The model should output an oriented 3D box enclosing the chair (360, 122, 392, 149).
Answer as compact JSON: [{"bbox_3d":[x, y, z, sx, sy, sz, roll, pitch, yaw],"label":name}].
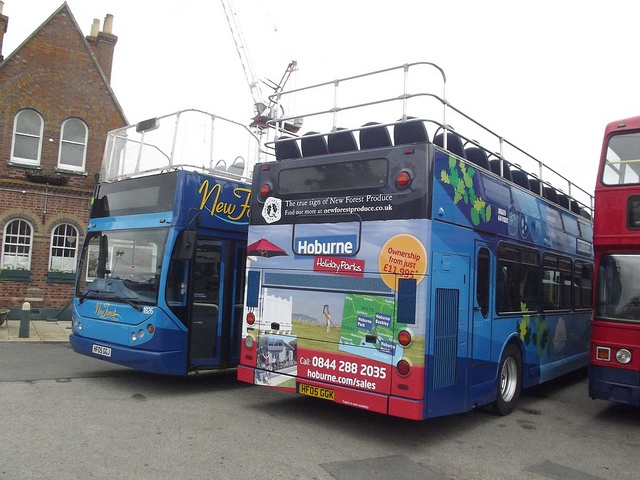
[{"bbox_3d":[0.821,-1.567,7.765,0.519,0.340,0.340,2,-1,15],"label":"chair"}]

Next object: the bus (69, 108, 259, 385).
[{"bbox_3d":[-3.003,-0.083,10.003,2.996,4.685,1.850,2,-1,19],"label":"bus"}]

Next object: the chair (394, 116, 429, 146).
[{"bbox_3d":[1.344,-1.582,7.684,0.486,0.286,0.141,2,-1,25],"label":"chair"}]
